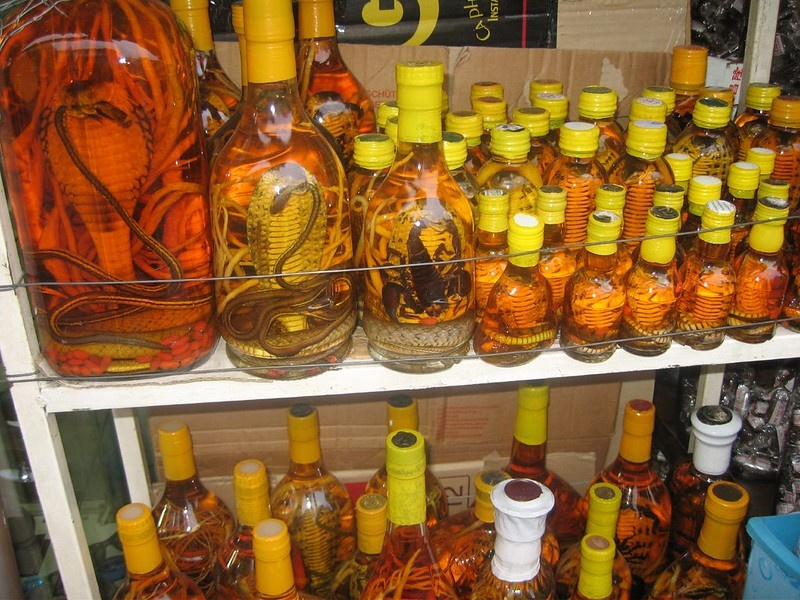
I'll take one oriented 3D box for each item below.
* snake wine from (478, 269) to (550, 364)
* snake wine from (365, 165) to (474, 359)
[{"bbox_3d":[0.133,0.023,0.743,0.093,0.115,0.054,-7,41,-12],"label":"snake wine"},{"bbox_3d":[0.019,-0.032,0.721,0.125,0.219,0.086,-1,17,3],"label":"snake wine"}]
